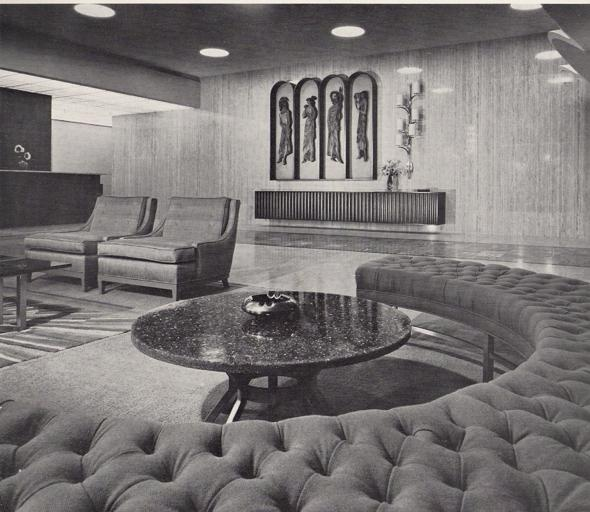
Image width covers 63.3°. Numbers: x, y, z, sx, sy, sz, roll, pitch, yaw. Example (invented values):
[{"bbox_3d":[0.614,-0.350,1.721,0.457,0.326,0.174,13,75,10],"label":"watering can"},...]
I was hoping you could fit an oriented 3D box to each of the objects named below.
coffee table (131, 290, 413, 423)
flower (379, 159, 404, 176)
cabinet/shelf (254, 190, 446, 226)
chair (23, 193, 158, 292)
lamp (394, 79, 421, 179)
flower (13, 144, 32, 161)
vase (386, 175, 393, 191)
[{"bbox_3d":[-0.052,0.207,1.340,0.511,0.184,0.504,2,7,12],"label":"coffee table"},{"bbox_3d":[1.225,-1.115,6.086,0.228,0.198,0.230,-6,13,-26],"label":"flower"},{"bbox_3d":[0.812,-0.611,6.077,3.070,0.472,0.607,3,14,27],"label":"cabinet/shelf"},{"bbox_3d":[-1.363,-0.145,3.391,0.702,0.714,0.780,3,3,31],"label":"chair"},{"bbox_3d":[1.422,-1.550,5.943,0.334,1.184,0.141,3,7,29],"label":"lamp"},{"bbox_3d":[-3.593,-1.355,6.309,0.196,0.208,0.148,-4,7,-30],"label":"flower"},{"bbox_3d":[1.208,-0.925,6.056,0.102,0.203,0.169,0,6,7],"label":"vase"}]
